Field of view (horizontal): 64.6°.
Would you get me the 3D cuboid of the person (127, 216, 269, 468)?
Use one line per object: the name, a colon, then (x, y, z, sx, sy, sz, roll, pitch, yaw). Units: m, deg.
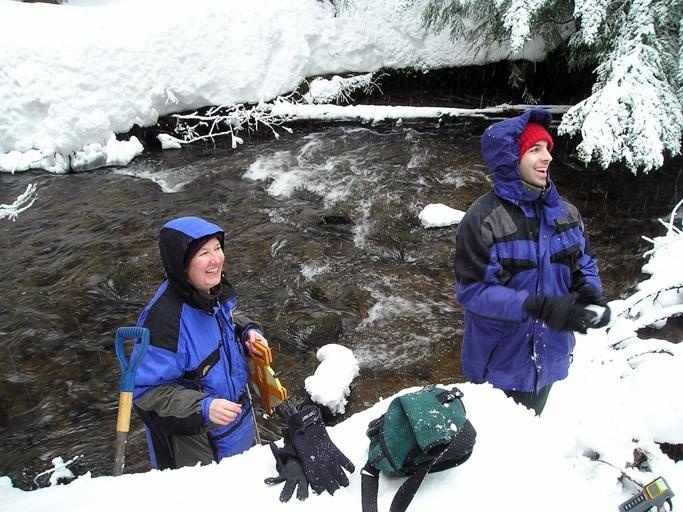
person: (-1.163, 0.826, 4.305, 0.800, 2.117, 1.113, 1, 23, 20)

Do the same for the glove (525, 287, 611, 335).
glove: (1.718, 0.399, 4.135, 0.469, 0.173, 0.335, 9, 25, 10)

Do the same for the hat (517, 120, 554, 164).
hat: (1.657, -0.993, 4.491, 0.314, 0.241, 0.235, 1, -3, 30)

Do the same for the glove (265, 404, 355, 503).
glove: (-0.270, 1.360, 3.699, 0.533, 0.415, 0.520, -21, 25, -34)

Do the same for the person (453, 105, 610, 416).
person: (1.582, 0.112, 4.537, 1.182, 2.577, 1.029, 3, 24, 25)

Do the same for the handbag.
handbag: (0.525, 1.200, 3.718, 0.757, 0.490, 0.386, -10, 21, -10)
